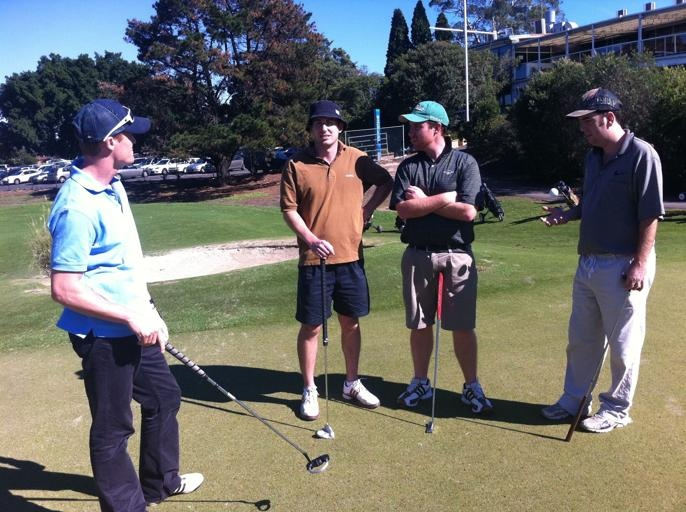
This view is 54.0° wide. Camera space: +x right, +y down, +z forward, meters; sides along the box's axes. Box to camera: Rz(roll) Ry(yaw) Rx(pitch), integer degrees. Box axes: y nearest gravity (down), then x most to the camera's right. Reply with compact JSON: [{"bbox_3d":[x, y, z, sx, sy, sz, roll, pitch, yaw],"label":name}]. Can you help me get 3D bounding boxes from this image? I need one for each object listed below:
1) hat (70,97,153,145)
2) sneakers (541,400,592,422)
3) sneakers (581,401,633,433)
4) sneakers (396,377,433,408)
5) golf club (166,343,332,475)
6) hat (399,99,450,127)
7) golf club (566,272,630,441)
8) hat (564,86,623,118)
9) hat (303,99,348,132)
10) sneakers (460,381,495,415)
[{"bbox_3d":[-1.617,-0.915,4.696,0.483,0.237,0.306,-12,31,-33],"label":"hat"},{"bbox_3d":[1.862,1.264,5.583,0.447,0.212,0.163,1,4,-9],"label":"sneakers"},{"bbox_3d":[2.080,1.289,5.379,0.389,0.195,0.172,-7,11,4],"label":"sneakers"},{"bbox_3d":[0.637,1.197,5.876,0.369,0.169,0.151,-7,9,-43],"label":"sneakers"},{"bbox_3d":[-0.783,1.322,5.654,1.322,0.233,0.145,41,0,-3],"label":"golf club"},{"bbox_3d":[0.699,-1.218,5.819,0.345,0.195,0.234,-1,11,-7],"label":"hat"},{"bbox_3d":[2.067,0.826,5.451,0.067,1.422,0.140,31,-14,-15],"label":"golf club"},{"bbox_3d":[2.045,-1.233,5.463,0.373,0.225,0.254,-1,13,7],"label":"hat"},{"bbox_3d":[-0.159,-1.225,5.917,0.316,0.266,0.335,-3,12,7],"label":"hat"},{"bbox_3d":[1.133,1.197,5.709,0.258,0.206,0.275,-3,12,9],"label":"sneakers"}]
